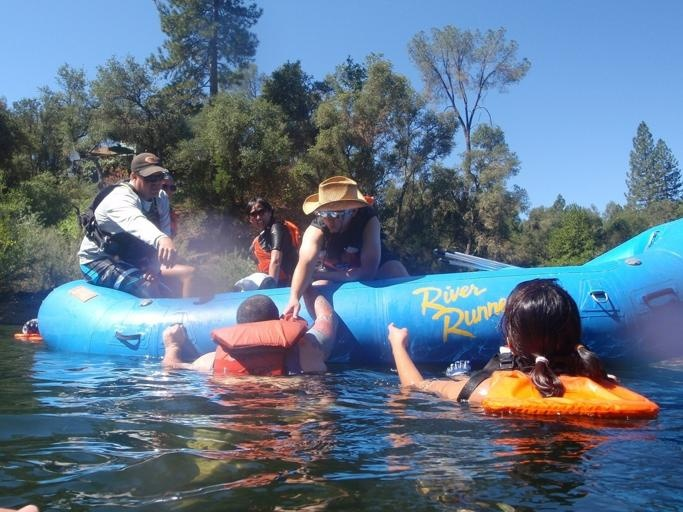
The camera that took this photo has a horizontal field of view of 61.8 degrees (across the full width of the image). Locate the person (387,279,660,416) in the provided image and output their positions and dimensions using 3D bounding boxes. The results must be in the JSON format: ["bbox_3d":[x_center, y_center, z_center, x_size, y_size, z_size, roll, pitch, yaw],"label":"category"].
[{"bbox_3d":[1.113,0.623,3.667,0.737,0.546,1.086,0,-8,-10],"label":"person"}]

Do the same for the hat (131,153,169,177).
[{"bbox_3d":[-2.073,-0.961,6.137,0.342,0.198,0.250,-7,-3,36],"label":"hat"}]

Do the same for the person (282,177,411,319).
[{"bbox_3d":[0.003,-0.147,5.592,0.902,1.641,1.474,-6,18,21],"label":"person"}]

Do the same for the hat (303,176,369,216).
[{"bbox_3d":[-0.021,-0.584,5.560,0.512,0.241,0.473,-7,5,-16],"label":"hat"}]

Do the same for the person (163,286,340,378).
[{"bbox_3d":[-0.635,0.738,4.864,1.199,0.773,1.743,-2,2,4],"label":"person"}]
